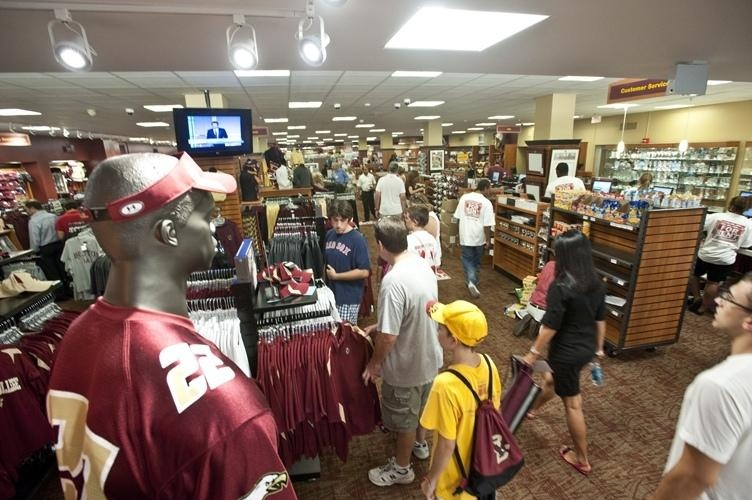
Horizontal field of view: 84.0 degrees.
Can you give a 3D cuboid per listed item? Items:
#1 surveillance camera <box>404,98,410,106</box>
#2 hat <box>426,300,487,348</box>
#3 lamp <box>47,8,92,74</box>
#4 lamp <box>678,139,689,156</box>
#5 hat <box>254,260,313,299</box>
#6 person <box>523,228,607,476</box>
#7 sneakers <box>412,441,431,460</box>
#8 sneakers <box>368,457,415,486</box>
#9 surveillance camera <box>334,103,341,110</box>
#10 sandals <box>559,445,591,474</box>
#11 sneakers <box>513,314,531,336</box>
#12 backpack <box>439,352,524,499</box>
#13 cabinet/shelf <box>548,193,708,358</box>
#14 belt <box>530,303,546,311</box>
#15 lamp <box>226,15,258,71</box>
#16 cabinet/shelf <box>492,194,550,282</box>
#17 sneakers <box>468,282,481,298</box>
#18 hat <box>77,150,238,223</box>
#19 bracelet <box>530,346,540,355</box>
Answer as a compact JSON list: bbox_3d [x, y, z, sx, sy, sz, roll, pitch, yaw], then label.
[{"bbox_3d":[0.798,-3.713,10.431,0.207,0.167,0.212,-3,3,-3],"label":"surveillance camera"},{"bbox_3d":[0.583,0.542,3.061,0.442,0.370,0.260,5,17,26],"label":"hat"},{"bbox_3d":[-2.346,-1.604,3.234,0.267,0.383,0.418,-11,18,-29],"label":"lamp"},{"bbox_3d":[8.289,-2.744,11.231,0.228,0.415,1.704,8,19,35],"label":"lamp"},{"bbox_3d":[-0.709,0.245,3.381,0.356,0.125,0.282,-3,40,-24],"label":"hat"},{"bbox_3d":[1.748,0.918,3.810,0.596,2.167,0.552,7,18,30],"label":"person"},{"bbox_3d":[0.432,1.870,3.912,0.097,0.102,0.232,-1,1,-4],"label":"sneakers"},{"bbox_3d":[0.140,1.971,3.808,0.413,0.217,0.199,2,15,-3],"label":"sneakers"},{"bbox_3d":[-1.023,-3.824,10.998,0.180,0.161,0.241,-2,1,-5],"label":"surveillance camera"},{"bbox_3d":[1.855,1.934,3.883,0.127,0.089,0.239,-8,37,-31],"label":"sandals"},{"bbox_3d":[1.991,1.001,5.626,0.082,0.312,0.173,1,43,-50],"label":"sneakers"},{"bbox_3d":[0.757,1.290,2.911,0.511,0.881,0.264,0,15,9],"label":"backpack"},{"bbox_3d":[3.098,0.209,5.565,1.119,1.932,1.387,-7,18,-25],"label":"cabinet/shelf"},{"bbox_3d":[1.918,0.667,4.936,0.060,0.078,0.175,-5,17,-29],"label":"belt"},{"bbox_3d":[-1.095,-1.677,3.429,0.248,0.349,0.433,-6,16,-14],"label":"lamp"},{"bbox_3d":[2.471,-0.221,7.071,0.465,1.548,1.312,-2,9,-13],"label":"cabinet/shelf"},{"bbox_3d":[1.626,0.637,6.896,0.126,0.307,0.129,2,-28,-17],"label":"sneakers"},{"bbox_3d":[-1.246,-0.383,2.397,0.862,0.238,0.596,-28,31,-28],"label":"hat"},{"bbox_3d":[1.454,0.908,3.818,0.076,0.041,0.107,18,10,6],"label":"bracelet"}]
